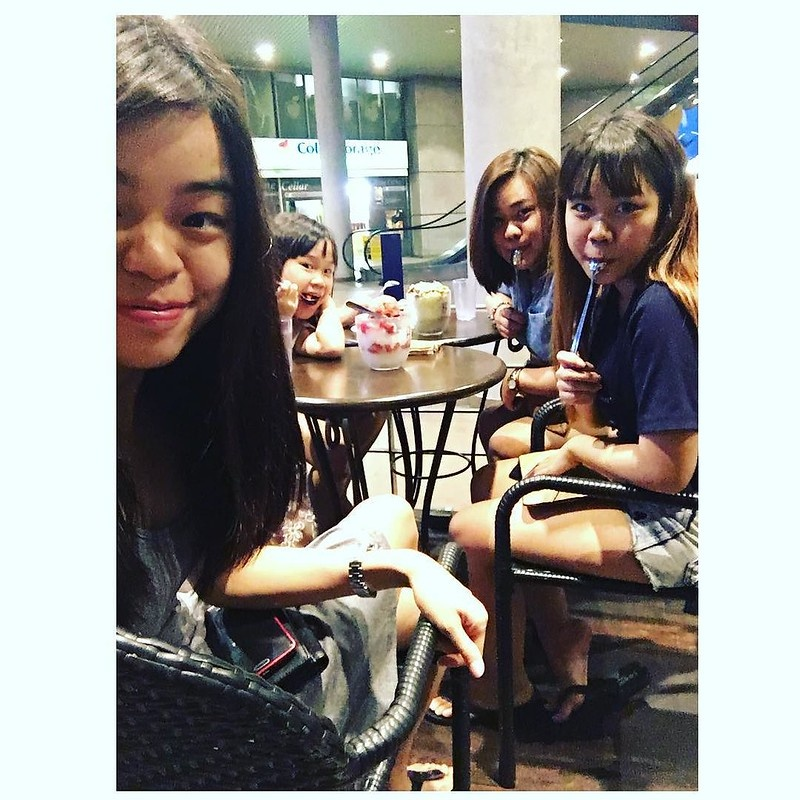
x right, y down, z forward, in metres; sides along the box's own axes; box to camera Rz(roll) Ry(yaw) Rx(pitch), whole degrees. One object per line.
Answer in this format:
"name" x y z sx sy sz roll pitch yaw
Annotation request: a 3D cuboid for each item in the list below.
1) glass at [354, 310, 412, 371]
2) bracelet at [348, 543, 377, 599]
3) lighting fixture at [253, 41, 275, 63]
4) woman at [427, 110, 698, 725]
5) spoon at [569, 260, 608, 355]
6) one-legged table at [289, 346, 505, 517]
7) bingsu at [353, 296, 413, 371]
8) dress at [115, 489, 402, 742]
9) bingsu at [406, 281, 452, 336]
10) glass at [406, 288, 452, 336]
"glass" -0.046 -0.156 2.152 0.131 0.132 0.124 -6 14 -8
"bracelet" -0.064 0.274 1.327 0.036 0.069 0.058 1 4 7
"lighting fixture" -0.261 -0.673 1.678 0.049 0.012 0.051 -16 12 -26
"woman" 0.339 0.082 1.687 0.525 1.170 0.456 -2 7 -18
"spoon" 0.375 -0.179 1.722 0.034 0.197 0.037 18 24 31
"one-legged table" -0.018 0.107 2.275 0.481 0.625 0.516 -2 15 -5
"bingsu" -0.039 -0.164 2.106 0.145 0.209 0.158 0 8 4
"dress" -0.119 0.313 1.437 0.268 0.125 0.378 7 17 16
"bingsu" 0.087 -0.288 2.626 0.135 0.189 0.146 -4 11 -14
"glass" 0.086 -0.270 2.604 0.124 0.167 0.130 0 10 3
